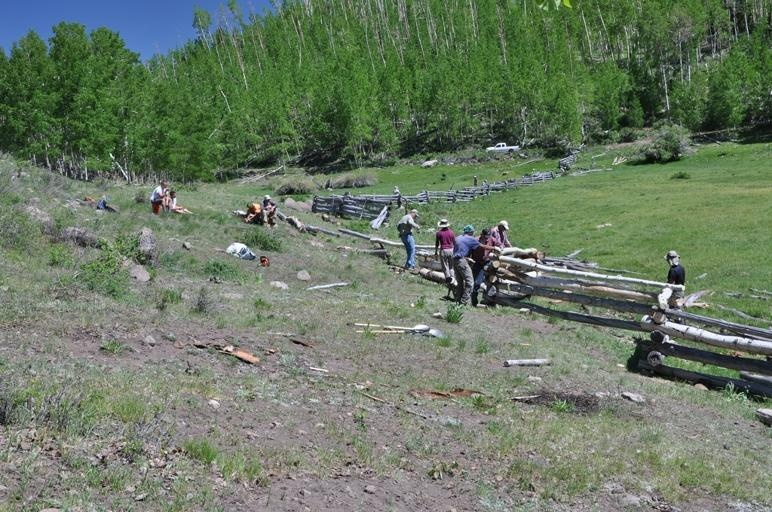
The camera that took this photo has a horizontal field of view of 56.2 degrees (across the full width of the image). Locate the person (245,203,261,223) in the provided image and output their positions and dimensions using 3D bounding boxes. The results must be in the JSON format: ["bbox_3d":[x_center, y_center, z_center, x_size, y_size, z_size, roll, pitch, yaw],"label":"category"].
[{"bbox_3d":[-6.402,-2.085,35.092,0.633,0.981,0.441,3,-5,3],"label":"person"}]

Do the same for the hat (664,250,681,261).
[{"bbox_3d":[10.879,-0.037,27.619,0.434,0.265,0.304,18,27,40],"label":"hat"}]

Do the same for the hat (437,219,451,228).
[{"bbox_3d":[2.539,-1.487,32.342,0.658,0.328,0.802,3,19,7],"label":"hat"}]

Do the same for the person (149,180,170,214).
[{"bbox_3d":[-10.607,-2.667,33.917,0.937,1.771,0.728,13,12,29],"label":"person"}]

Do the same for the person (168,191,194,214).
[{"bbox_3d":[-10.001,-2.545,34.290,0.809,0.917,1.470,-11,15,-39],"label":"person"}]

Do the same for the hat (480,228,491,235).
[{"bbox_3d":[3.646,-0.895,26.547,0.253,0.354,0.315,7,-4,-8],"label":"hat"}]

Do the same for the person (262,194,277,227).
[{"bbox_3d":[-5.712,-2.307,35.352,0.634,1.471,1.814,-4,12,-8],"label":"person"}]
